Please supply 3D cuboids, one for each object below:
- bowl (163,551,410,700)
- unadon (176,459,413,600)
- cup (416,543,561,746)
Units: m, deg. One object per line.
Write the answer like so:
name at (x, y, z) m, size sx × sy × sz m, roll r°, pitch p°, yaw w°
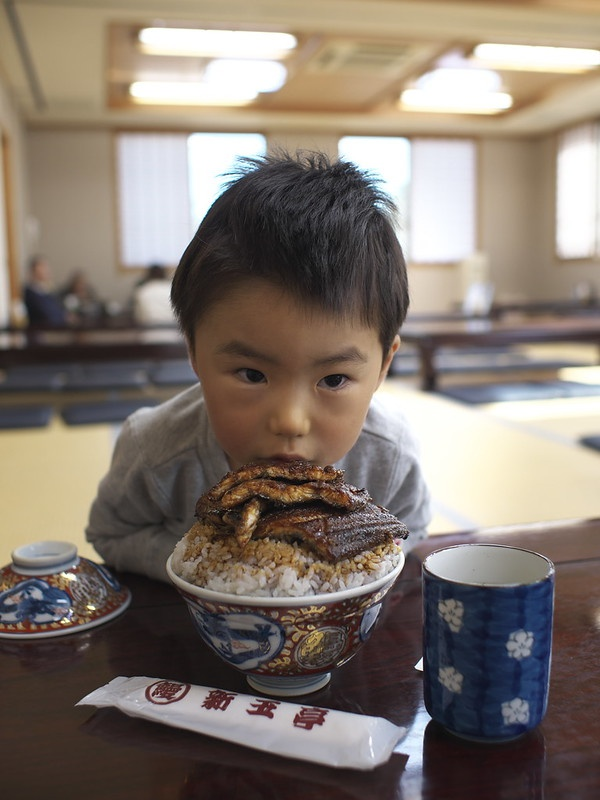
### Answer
bowl at (-0.013, 0.157, 0.535) m, size 0.174 × 0.072 × 0.155 m, roll -1°, pitch 3°, yaw -21°
unadon at (-0.011, 0.070, 0.537) m, size 0.178 × 0.050 × 0.148 m, roll -4°, pitch 23°, yaw 0°
cup at (0.117, 0.150, 0.476) m, size 0.079 × 0.108 × 0.089 m, roll 3°, pitch 13°, yaw 18°
